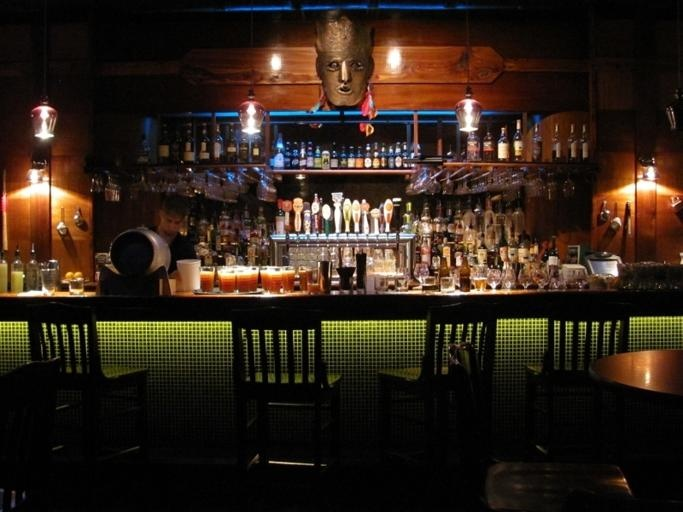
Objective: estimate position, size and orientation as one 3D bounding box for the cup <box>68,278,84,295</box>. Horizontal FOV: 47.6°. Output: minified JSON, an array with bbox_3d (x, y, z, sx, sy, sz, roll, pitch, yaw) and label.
[{"bbox_3d":[-2.201,0.254,6.428,0.125,0.145,0.127,0,0,0],"label":"cup"}]

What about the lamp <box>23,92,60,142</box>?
[{"bbox_3d":[-2.670,-1.266,6.974,0.231,0.408,0.230,0,-1,41],"label":"lamp"}]

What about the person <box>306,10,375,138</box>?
[{"bbox_3d":[0.034,-1.795,7.736,0.679,1.086,0.534,0,17,-4],"label":"person"}]

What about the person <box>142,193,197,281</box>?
[{"bbox_3d":[-1.576,-0.226,7.374,0.366,0.714,0.556,-1,3,-22],"label":"person"}]
